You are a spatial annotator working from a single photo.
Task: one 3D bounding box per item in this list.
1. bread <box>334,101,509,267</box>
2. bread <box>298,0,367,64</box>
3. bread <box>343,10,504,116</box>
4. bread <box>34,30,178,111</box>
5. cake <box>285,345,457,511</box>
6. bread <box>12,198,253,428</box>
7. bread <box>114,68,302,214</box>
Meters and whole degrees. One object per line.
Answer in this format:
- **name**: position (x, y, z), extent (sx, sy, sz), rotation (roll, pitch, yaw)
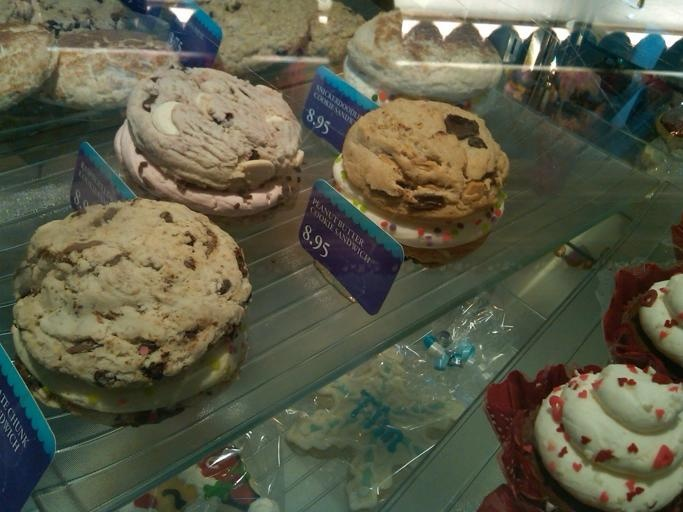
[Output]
- **bread**: position (0.332, -0.338, 2.515), extent (0.735, 0.445, 0.780), rotation (9, 47, -16)
- **bread**: position (-0.039, -1.271, 2.957), extent (0.335, 0.090, 0.361), rotation (29, 77, 0)
- **bread**: position (0.449, -1.021, 2.857), extent (0.876, 0.433, 0.443), rotation (7, 48, -3)
- **bread**: position (-1.244, -1.008, 2.736), extent (0.510, 0.225, 0.445), rotation (-28, 59, -37)
- **cake**: position (0.161, 0.728, 2.300), extent (0.508, 0.173, 0.718), rotation (38, 54, 22)
- **bread**: position (-0.812, 0.199, 1.999), extent (0.888, 0.485, 0.730), rotation (7, 48, -3)
- **bread**: position (-0.615, -0.563, 2.614), extent (0.856, 0.417, 0.888), rotation (35, 35, 12)
